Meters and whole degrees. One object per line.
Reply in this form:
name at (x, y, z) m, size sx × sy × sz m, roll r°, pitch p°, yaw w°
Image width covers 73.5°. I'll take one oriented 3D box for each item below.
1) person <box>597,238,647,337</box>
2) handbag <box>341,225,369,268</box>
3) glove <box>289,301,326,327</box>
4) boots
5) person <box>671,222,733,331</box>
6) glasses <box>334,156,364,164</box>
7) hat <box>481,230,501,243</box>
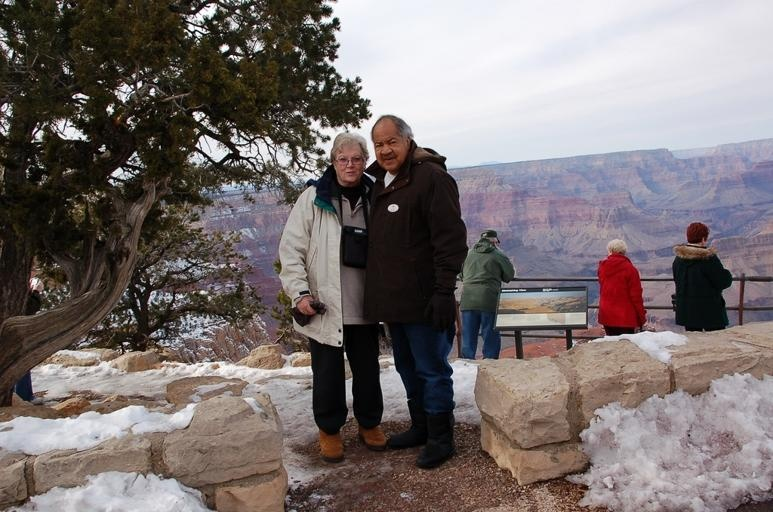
person at (2.746, 0.395, 6.156) m, size 0.526 × 1.173 × 0.553 m, roll -8°, pitch 5°, yaw 24°
handbag at (-0.249, -0.070, 3.933) m, size 0.257 × 0.292 × 0.100 m, roll 6°, pitch -6°, yaw -5°
glove at (-0.609, 0.439, 3.933) m, size 0.283 × 0.167 × 0.093 m, roll -8°, pitch 5°, yaw 20°
boots at (0.276, 1.345, 3.995) m, size 0.458 × 0.385 × 0.540 m, roll -9°, pitch 10°, yaw -19°
person at (3.501, 0.257, 5.780) m, size 0.600 × 1.255 × 0.620 m, roll -8°, pitch 5°, yaw 28°
glasses at (-0.290, -0.738, 3.961) m, size 0.233 × 0.064 × 0.072 m, roll -9°, pitch 4°, yaw 3°
hat at (1.442, -0.284, 7.250) m, size 0.167 × 0.114 × 0.233 m, roll 6°, pitch 10°, yaw 26°
